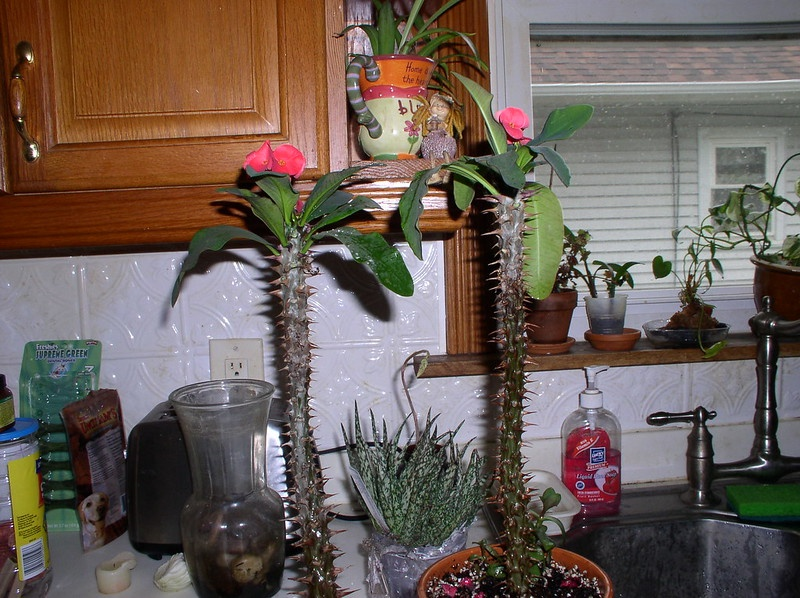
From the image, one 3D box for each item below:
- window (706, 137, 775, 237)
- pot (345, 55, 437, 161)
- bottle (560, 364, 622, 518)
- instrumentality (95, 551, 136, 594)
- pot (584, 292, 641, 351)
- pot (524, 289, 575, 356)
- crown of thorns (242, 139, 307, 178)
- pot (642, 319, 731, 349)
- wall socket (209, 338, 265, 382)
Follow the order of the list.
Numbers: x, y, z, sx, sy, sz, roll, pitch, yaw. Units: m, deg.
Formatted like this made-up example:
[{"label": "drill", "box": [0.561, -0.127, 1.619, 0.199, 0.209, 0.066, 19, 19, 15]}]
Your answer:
[{"label": "window", "box": [0.829, -0.278, 1.813, 0.235, 0.296, 0.020, 0, -1, -3]}, {"label": "pot", "box": [-0.018, -0.376, 1.507, 0.186, 0.204, 0.182, 0, -2, 0]}, {"label": "bottle", "box": [0.417, 0.350, 1.617, 0.127, 0.207, 0.118, -2, 4, 0]}, {"label": "instrumentality", "box": [-0.544, 0.511, 1.396, 0.044, 0.039, 0.075, 5, 3, -4]}, {"label": "pot", "box": [0.486, 0.043, 1.683, 0.118, 0.112, 0.123, 0, 3, 0]}, {"label": "pot", "box": [0.336, 0.053, 1.712, 0.147, 0.157, 0.154, -1, 8, 0]}, {"label": "crown of thorns", "box": [-0.196, -0.219, 1.168, 0.071, 0.064, 0.036, 11, -33, -15]}, {"label": "pot", "box": [0.657, 0.082, 1.703, 0.181, 0.051, 0.108, 1, 6, 27]}, {"label": "wall socket", "box": [-0.356, 0.131, 1.616, 0.084, 0.088, 0.010, 0, 3, 1]}]
